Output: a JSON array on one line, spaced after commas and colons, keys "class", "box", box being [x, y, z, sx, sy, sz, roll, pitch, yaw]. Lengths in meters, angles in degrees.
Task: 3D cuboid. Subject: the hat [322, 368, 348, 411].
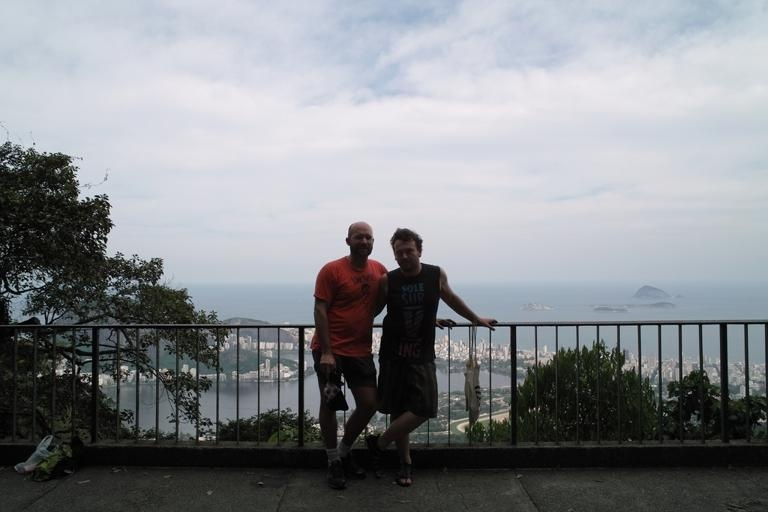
[{"class": "hat", "box": [-0.922, 2.524, 14.185, 0.535, 0.784, 0.389, -9, -14, 18]}]
